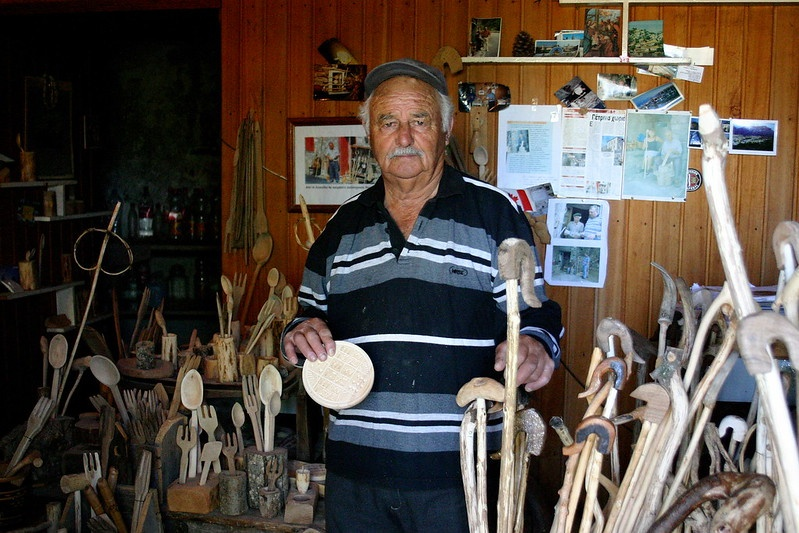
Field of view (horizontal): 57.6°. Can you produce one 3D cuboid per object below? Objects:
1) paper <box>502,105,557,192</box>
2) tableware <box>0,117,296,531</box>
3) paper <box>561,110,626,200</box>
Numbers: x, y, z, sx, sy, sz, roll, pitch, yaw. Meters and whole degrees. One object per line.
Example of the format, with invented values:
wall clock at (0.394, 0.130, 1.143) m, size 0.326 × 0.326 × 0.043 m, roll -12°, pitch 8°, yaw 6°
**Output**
paper at (0.817, -0.743, 4.561) m, size 0.392 × 0.012 × 0.596 m, roll 2°, pitch -49°, yaw 10°
tableware at (-1.659, 0.624, 4.881) m, size 1.637 × 1.933 × 0.457 m, roll -4°, pitch -27°, yaw 7°
paper at (1.195, -0.710, 4.535) m, size 0.402 × 0.639 × 0.014 m, roll 3°, pitch -22°, yaw 14°
